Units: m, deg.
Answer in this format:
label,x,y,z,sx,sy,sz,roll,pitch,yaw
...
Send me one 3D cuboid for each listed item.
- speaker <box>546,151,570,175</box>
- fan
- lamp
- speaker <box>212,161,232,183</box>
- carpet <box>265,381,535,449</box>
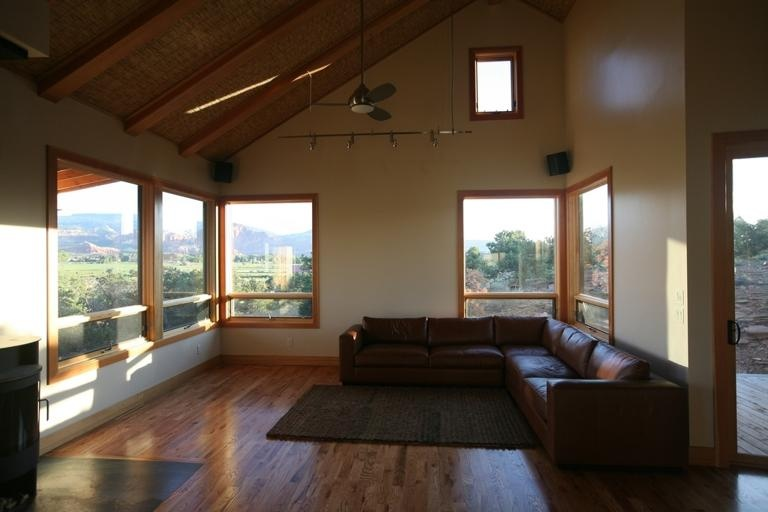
label,x,y,z,sx,sy,sz,roll,pitch,yaw
speaker,2.659,-1.401,8.055,0.325,0.346,0.191,-1,6,7
fan,-0.490,-2.583,7.298,1.143,1.632,2.541,-3,6,-7
lamp,-0.218,-1.801,8.133,2.879,0.344,0.803,-1,6,8
speaker,-2.569,-1.342,8.494,0.338,0.341,0.241,-4,6,-17
carpet,0.285,1.992,6.649,2.968,0.221,1.383,-2,6,5
